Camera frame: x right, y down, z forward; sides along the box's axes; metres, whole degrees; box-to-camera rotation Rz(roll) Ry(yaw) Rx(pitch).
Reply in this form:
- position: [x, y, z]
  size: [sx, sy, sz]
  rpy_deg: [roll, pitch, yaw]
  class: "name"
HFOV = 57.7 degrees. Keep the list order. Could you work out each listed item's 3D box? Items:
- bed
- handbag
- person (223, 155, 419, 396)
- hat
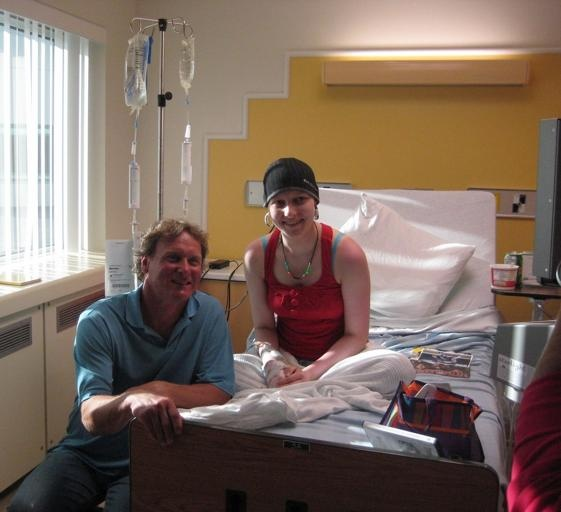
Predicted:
- position: [0.362, 0.176, 1.884]
  size: [0.758, 0.927, 1.416]
  rpy_deg: [2, 8, 18]
  class: "bed"
- position: [0.334, 0.351, 1.114]
  size: [0.228, 0.150, 0.202]
  rpy_deg: [-7, 11, -43]
  class: "handbag"
- position: [0.098, 0.113, 1.995]
  size: [0.837, 0.947, 0.697]
  rpy_deg: [-4, 12, 6]
  class: "person"
- position: [0.035, -0.286, 1.876]
  size: [0.169, 0.154, 0.180]
  rpy_deg: [-3, -7, 3]
  class: "hat"
